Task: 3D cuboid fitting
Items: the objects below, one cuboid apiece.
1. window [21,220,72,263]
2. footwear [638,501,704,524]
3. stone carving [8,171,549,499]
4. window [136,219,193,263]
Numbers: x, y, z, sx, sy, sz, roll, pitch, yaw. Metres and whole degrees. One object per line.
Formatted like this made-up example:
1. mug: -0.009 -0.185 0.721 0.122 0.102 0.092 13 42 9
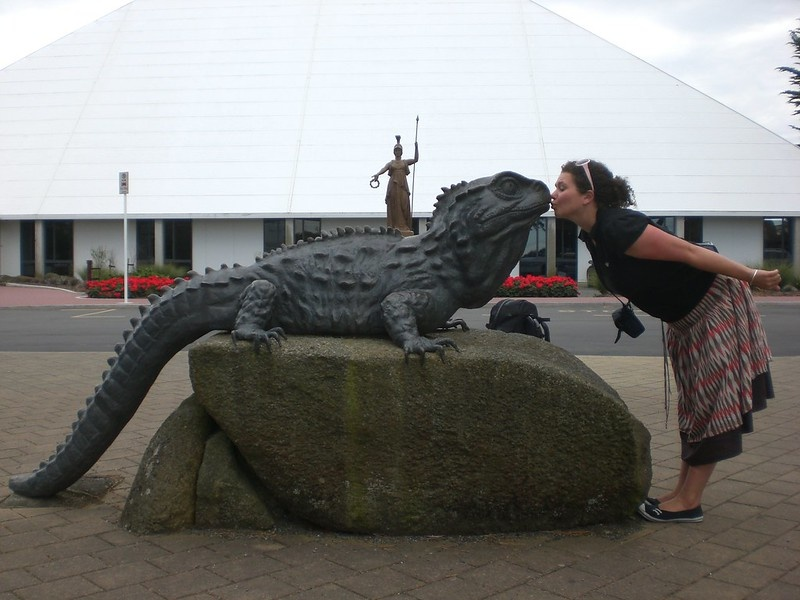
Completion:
1. window: -14.271 -2.360 32.543 1.764 1.783 0.098 -1 6 -7
2. footwear: 1.908 1.492 5.620 0.426 0.112 0.175 2 -11 -1
3. stone carving: -0.913 0.277 5.873 4.277 1.740 1.844 -8 0 0
4. window: -9.213 -2.325 31.700 1.729 1.809 0.077 0 1 -2
